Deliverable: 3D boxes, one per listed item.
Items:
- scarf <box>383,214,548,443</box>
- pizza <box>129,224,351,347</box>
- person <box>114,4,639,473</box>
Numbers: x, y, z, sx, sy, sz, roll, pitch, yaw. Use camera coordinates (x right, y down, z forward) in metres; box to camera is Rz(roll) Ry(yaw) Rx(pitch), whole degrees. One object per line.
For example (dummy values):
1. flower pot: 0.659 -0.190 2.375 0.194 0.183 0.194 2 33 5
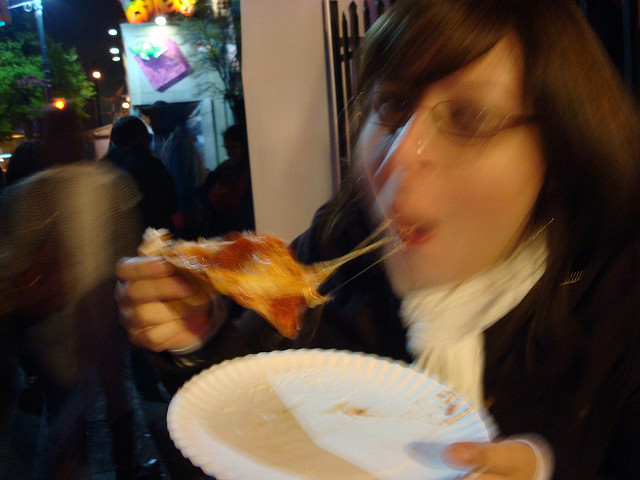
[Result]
1. scarf: 0.339 0.149 1.340 0.265 0.529 0.102 -12 5 15
2. pizza: -0.136 0.150 1.171 0.416 0.108 0.297 18 43 -19
3. person: 0.237 -0.021 1.239 0.957 0.871 0.494 -1 24 2
